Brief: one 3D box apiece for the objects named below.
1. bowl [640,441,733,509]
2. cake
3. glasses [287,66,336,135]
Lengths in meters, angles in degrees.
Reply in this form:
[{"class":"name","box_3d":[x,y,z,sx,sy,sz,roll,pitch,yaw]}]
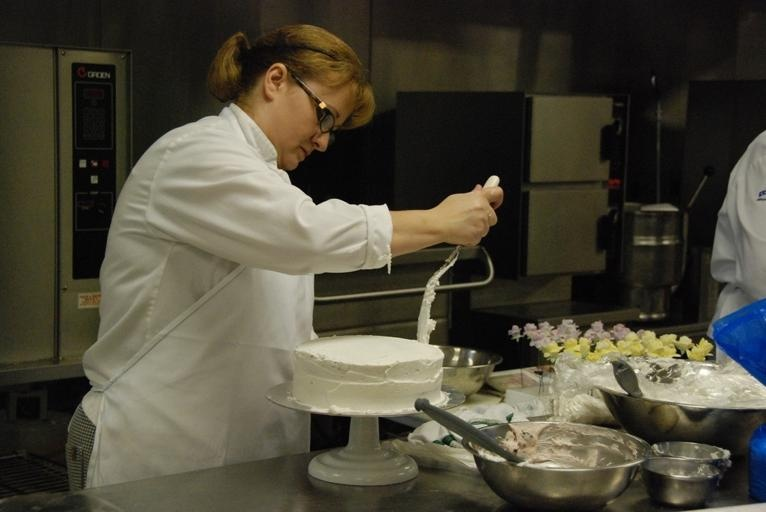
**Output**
[{"class":"bowl","box_3d":[0.679,0.485,1.560,0.177,0.073,0.146,1,9,15]},{"class":"cake","box_3d":[-0.040,0.282,1.697,0.365,0.144,0.219,0,5,0]},{"class":"glasses","box_3d":[-0.166,-0.416,1.836,0.040,0.139,0.142,-32,-25,4]}]
